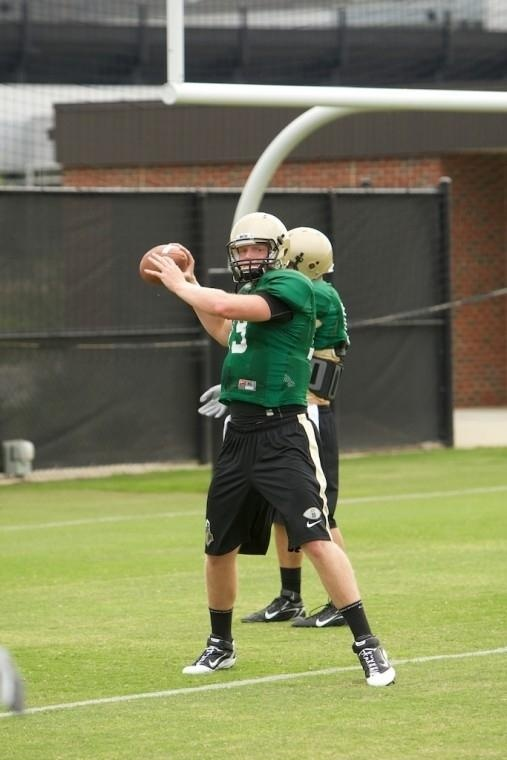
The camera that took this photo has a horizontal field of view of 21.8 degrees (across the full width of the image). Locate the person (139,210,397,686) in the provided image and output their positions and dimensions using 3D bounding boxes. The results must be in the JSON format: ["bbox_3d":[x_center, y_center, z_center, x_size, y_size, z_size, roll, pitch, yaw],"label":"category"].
[{"bbox_3d":[0.055,0.241,4.605,0.786,1.613,0.567,-2,4,-13],"label":"person"}]

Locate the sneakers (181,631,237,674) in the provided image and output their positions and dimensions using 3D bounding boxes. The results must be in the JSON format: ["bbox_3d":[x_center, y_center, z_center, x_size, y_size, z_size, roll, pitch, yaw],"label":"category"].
[{"bbox_3d":[-0.153,0.986,4.742,0.243,0.119,0.086,-4,5,-43],"label":"sneakers"}]

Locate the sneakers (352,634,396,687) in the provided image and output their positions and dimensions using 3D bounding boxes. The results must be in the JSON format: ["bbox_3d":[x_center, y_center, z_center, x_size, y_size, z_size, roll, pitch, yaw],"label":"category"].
[{"bbox_3d":[0.410,0.966,4.471,0.083,0.232,0.109,-35,-40,18],"label":"sneakers"}]

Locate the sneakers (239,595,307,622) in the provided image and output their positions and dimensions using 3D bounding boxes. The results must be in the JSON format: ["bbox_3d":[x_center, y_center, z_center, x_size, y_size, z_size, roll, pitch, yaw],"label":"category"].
[{"bbox_3d":[0.107,0.962,5.586,0.330,0.122,0.096,-2,2,-12],"label":"sneakers"}]

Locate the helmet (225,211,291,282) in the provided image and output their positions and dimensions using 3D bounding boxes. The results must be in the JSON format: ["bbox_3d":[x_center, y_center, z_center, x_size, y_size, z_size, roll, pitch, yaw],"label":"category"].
[{"bbox_3d":[-0.015,-0.453,4.606,0.225,0.212,0.260,-6,-2,26],"label":"helmet"}]

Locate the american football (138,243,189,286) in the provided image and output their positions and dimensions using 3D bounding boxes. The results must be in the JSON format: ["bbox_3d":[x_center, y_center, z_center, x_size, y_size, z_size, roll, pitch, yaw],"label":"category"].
[{"bbox_3d":[-0.328,-0.408,4.732,0.109,0.130,0.179,37,14,20],"label":"american football"}]
